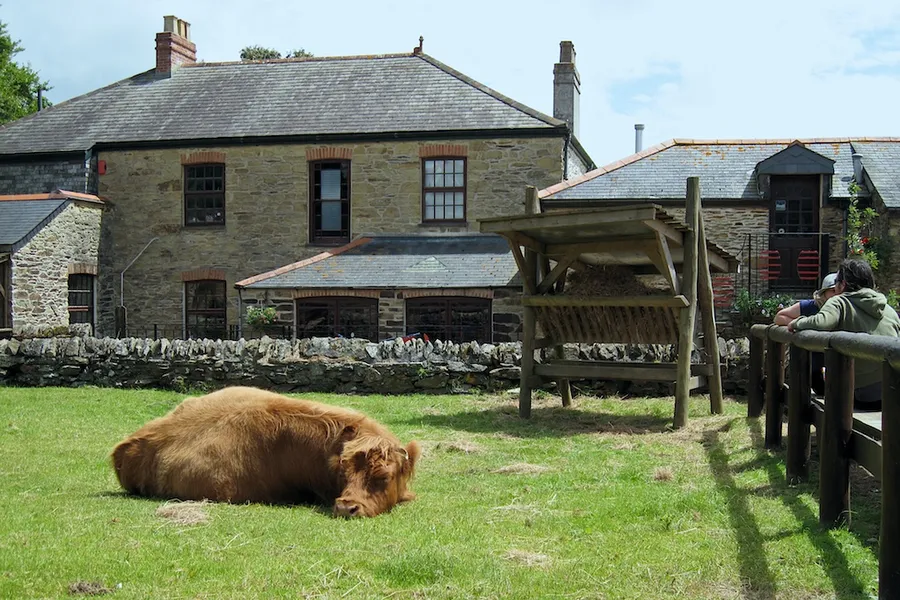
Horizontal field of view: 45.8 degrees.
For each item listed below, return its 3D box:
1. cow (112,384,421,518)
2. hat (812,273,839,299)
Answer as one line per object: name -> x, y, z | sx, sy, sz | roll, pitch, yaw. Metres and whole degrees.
cow -> -2.296, 1.842, 12.891 | 2.680, 0.955, 1.600 | 1, -5, -1
hat -> 5.253, -0.180, 14.805 | 0.352, 0.356, 0.332 | -1, -5, 29
